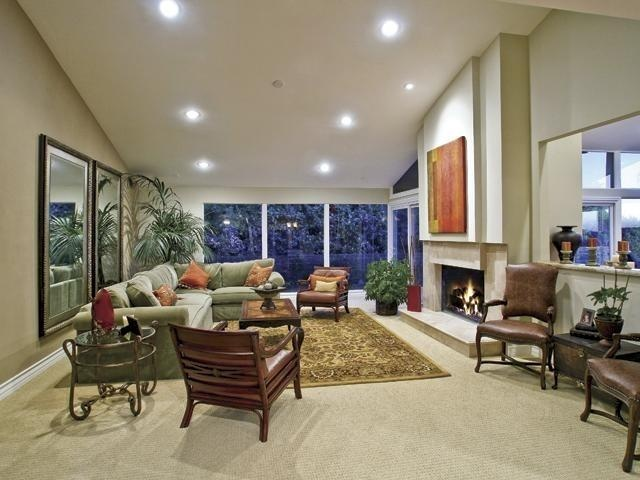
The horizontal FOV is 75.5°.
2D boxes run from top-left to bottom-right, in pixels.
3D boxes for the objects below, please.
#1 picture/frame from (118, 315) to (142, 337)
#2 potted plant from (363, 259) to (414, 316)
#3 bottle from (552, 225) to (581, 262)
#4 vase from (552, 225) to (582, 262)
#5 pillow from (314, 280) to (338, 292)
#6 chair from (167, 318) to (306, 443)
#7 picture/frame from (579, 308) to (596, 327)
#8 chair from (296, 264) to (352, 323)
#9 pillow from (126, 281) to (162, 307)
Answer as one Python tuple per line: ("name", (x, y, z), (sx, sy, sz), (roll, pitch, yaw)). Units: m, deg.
("picture/frame", (-1.836, 0.868, 4.120), (0.254, 0.273, 0.073), (3, -12, 23))
("potted plant", (1.218, 0.838, 7.740), (0.925, 1.147, 0.904), (0, -1, -3))
("bottle", (2.932, 0.049, 5.164), (0.384, 0.480, 0.380), (-2, 1, 0))
("vase", (3.052, 0.024, 5.138), (0.322, 0.400, 0.332), (-10, 8, -34))
("pillow", (0.101, 0.813, 7.402), (0.408, 0.174, 0.329), (0, 10, 4))
("chair", (-0.762, 1.232, 4.033), (0.853, 0.913, 1.129), (-1, -3, 11))
("picture/frame", (2.848, 0.826, 4.417), (0.063, 0.211, 0.143), (21, -12, -22))
("chair", (0.053, 0.904, 7.566), (0.748, 0.917, 0.917), (-1, -8, 18))
("pillow", (-2.122, 0.661, 5.006), (0.429, 0.289, 0.267), (4, 11, 25))
